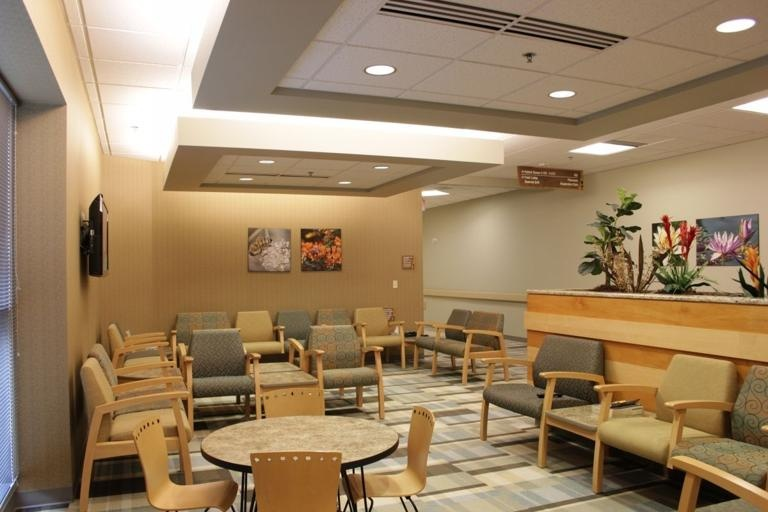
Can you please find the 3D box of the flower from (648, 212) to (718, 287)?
[{"bbox_3d":[3.262,-0.024,5.559,0.441,0.851,0.736,0,1,28],"label":"flower"}]
